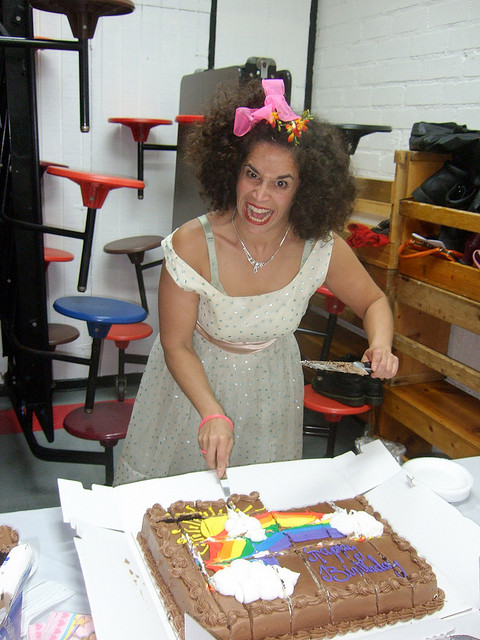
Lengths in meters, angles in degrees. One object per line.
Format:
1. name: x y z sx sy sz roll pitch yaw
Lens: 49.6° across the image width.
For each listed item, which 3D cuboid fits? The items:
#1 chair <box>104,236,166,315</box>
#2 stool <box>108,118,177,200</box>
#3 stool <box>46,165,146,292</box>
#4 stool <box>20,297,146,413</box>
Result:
1. chair: -0.565 -0.254 2.703 0.337 0.350 0.325 -16 34 -17
2. stool: -0.446 -0.923 2.908 0.428 0.445 0.404 -1 28 -5
3. stool: -0.508 -0.316 1.873 0.320 0.466 0.279 -3 18 -15
4. stool: -0.547 0.102 2.055 0.514 0.412 0.347 10 16 -20
